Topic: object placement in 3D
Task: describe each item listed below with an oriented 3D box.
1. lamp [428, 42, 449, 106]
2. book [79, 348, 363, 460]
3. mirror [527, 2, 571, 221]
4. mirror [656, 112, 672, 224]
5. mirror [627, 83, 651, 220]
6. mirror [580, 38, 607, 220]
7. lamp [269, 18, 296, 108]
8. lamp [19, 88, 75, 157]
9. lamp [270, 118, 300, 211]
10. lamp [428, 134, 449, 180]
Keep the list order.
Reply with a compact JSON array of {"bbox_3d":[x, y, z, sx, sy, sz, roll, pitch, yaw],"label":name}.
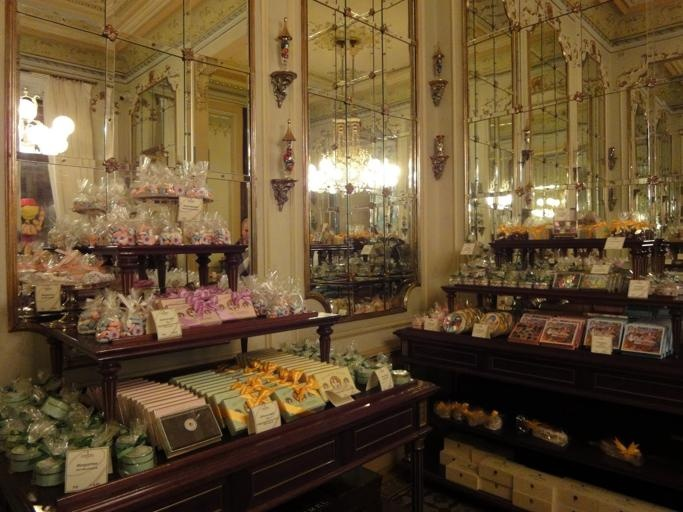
[{"bbox_3d":[0.965,-1.804,5.219,0.184,0.574,0.192,-2,4,16],"label":"lamp"},{"bbox_3d":[-0.604,0.816,3.017,1.239,0.259,0.661,-5,4,-29],"label":"book"},{"bbox_3d":[1.892,-1.453,4.742,0.426,0.039,1.983,0,-27,23],"label":"mirror"},{"bbox_3d":[2.569,-0.699,4.160,0.118,0.838,0.065,0,4,33],"label":"mirror"},{"bbox_3d":[2.454,-0.828,4.261,0.151,1.050,0.113,0,4,33],"label":"mirror"},{"bbox_3d":[2.154,-1.043,4.499,0.221,1.404,0.159,0,4,32],"label":"mirror"},{"bbox_3d":[-0.412,-1.518,4.050,0.181,0.705,0.265,0,4,33],"label":"lamp"},{"bbox_3d":[-1.792,-0.776,3.163,0.347,0.345,0.353,1,0,25],"label":"lamp"},{"bbox_3d":[-0.410,-0.715,4.070,0.159,0.722,0.274,0,4,32],"label":"lamp"},{"bbox_3d":[0.986,-0.994,5.234,0.183,0.445,0.161,-2,4,13],"label":"lamp"}]
